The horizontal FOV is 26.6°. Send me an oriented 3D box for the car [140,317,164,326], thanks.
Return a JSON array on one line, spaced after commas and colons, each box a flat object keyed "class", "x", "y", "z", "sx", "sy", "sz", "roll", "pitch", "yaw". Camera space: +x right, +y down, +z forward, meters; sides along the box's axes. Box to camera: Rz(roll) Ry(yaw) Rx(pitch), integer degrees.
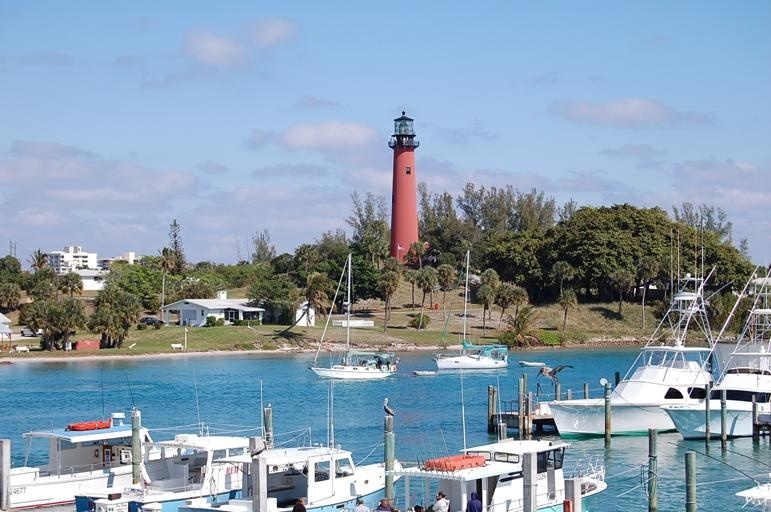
[{"class": "car", "x": -34.327, "y": 10.345, "z": 241.794, "sx": 3.524, "sy": 1.153, "sz": 1.691, "roll": -1, "pitch": 0, "yaw": 32}]
